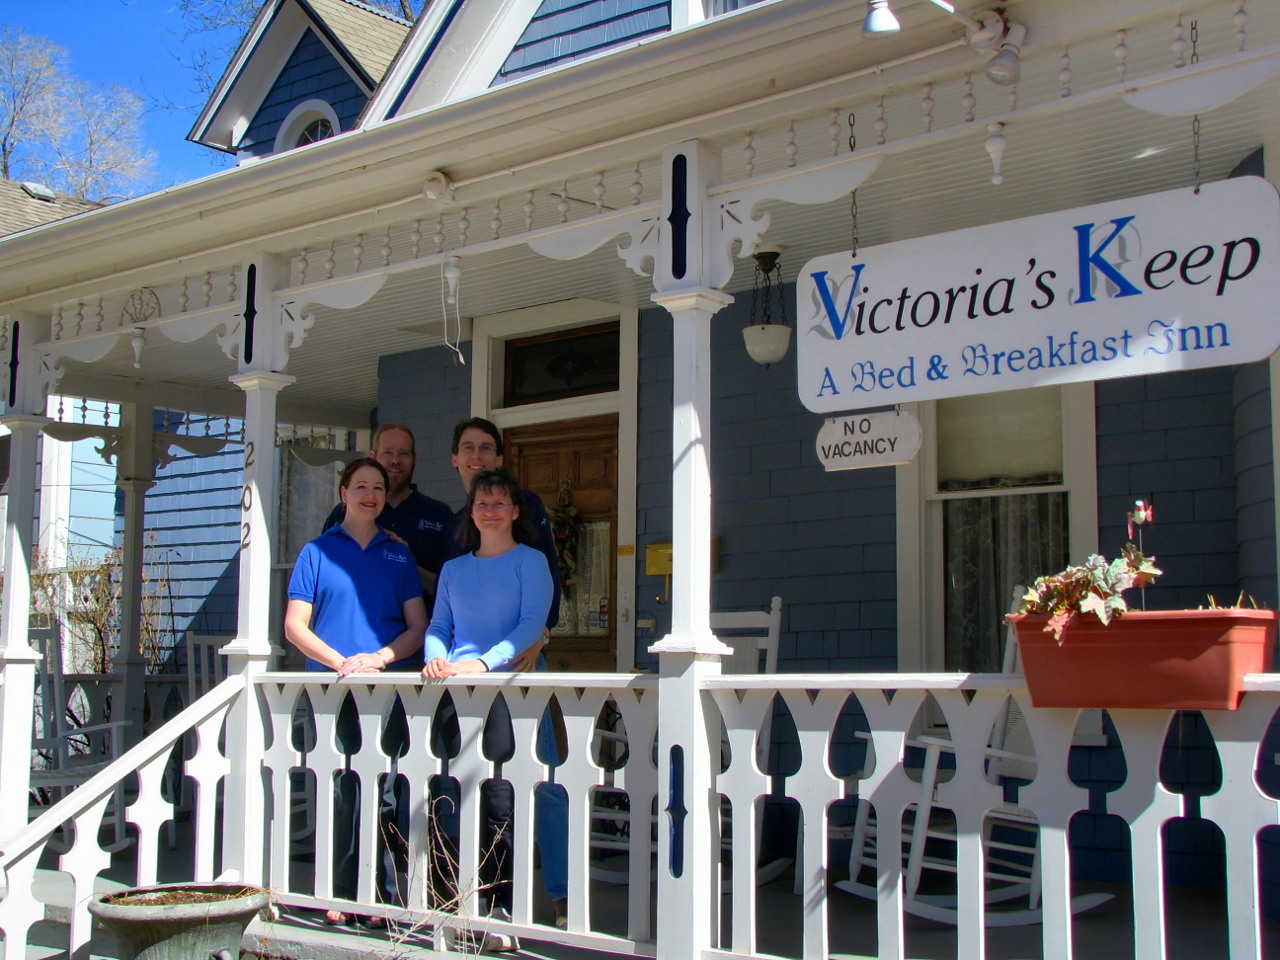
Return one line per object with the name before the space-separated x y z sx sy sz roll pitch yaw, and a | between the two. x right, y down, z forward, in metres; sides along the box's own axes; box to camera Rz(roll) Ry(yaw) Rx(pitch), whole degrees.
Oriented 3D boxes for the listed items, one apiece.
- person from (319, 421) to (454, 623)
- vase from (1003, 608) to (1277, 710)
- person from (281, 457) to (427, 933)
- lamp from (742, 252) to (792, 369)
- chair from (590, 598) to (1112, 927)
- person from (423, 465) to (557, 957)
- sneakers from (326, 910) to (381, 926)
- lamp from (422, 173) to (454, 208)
person | -1.267 0.227 7.519 0.821 1.378 0.717 -2 -18 -8
vase | 1.696 0.639 5.049 0.649 0.267 0.458 -7 -12 36
person | -1.324 0.975 6.946 0.612 2.150 0.633 1 -5 4
lamp | 0.699 -0.938 8.068 0.268 0.574 0.777 1 -5 4
chair | 1.184 1.352 7.383 2.230 1.489 1.734 -2 -5 31
person | -0.686 1.016 6.614 0.559 2.090 0.797 1 -5 -4
sneakers | -1.320 2.029 6.742 0.168 0.078 0.128 1 -6 -9
lamp | -0.922 -1.355 6.750 0.128 0.137 0.113 0 -5 16
